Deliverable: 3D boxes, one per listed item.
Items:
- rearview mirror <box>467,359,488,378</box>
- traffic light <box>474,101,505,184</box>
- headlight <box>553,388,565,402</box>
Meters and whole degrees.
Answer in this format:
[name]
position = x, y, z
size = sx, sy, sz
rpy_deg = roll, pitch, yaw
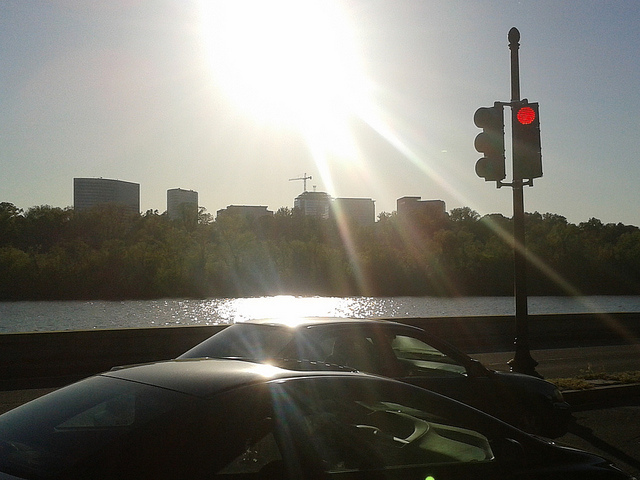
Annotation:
[rearview mirror]
position = 1.809, 1.482, 6.258
size = 0.131, 0.213, 0.314
rpy_deg = -6, -7, 41
[traffic light]
position = 2.950, -1.701, 9.509
size = 0.473, 1.418, 0.355
rpy_deg = -3, -6, 22
[headlight]
position = 3.076, 2.010, 7.046
size = 0.078, 0.187, 0.414
rpy_deg = -4, -6, 26
